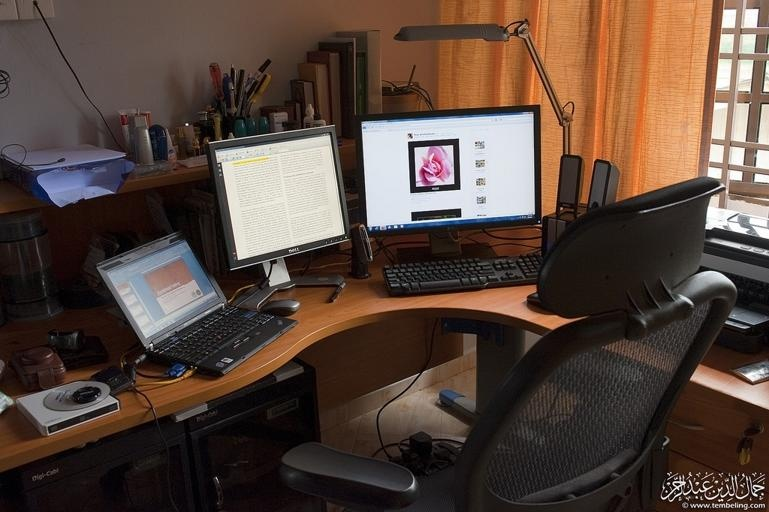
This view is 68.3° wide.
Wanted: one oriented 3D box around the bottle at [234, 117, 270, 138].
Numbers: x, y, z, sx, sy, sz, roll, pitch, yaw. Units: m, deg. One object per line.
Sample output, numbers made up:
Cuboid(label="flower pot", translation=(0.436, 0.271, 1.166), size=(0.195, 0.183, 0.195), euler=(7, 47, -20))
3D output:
Cuboid(label="bottle", translation=(-0.512, -0.488, 2.173), size=(0.133, 0.077, 0.041), euler=(-18, 26, -40))

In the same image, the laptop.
Cuboid(label="laptop", translation=(-0.647, 0.161, 1.821), size=(0.560, 0.327, 0.426), euler=(9, 33, 34))

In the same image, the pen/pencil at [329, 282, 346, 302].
Cuboid(label="pen/pencil", translation=(-0.172, 0.129, 2.038), size=(0.019, 0.019, 0.135), euler=(-29, 9, 26))

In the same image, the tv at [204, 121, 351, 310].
Cuboid(label="tv", translation=(-0.406, -0.137, 2.053), size=(0.533, 0.584, 0.353), euler=(-18, 32, -35))

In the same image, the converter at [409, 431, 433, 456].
Cuboid(label="converter", translation=(0.155, 0.803, 2.444), size=(0.075, 0.056, 0.076), euler=(17, 26, 41))

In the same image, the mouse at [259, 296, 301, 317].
Cuboid(label="mouse", translation=(-0.362, 0.169, 1.937), size=(0.106, 0.032, 0.063), euler=(4, 20, 16))

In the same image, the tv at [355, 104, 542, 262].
Cuboid(label="tv", translation=(0.247, -0.282, 2.193), size=(0.650, 0.446, 0.184), euler=(-3, 10, -5))

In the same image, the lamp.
Cuboid(label="lamp", translation=(0.434, -0.496, 2.303), size=(0.777, 0.787, 0.219), euler=(2, 21, -1))
